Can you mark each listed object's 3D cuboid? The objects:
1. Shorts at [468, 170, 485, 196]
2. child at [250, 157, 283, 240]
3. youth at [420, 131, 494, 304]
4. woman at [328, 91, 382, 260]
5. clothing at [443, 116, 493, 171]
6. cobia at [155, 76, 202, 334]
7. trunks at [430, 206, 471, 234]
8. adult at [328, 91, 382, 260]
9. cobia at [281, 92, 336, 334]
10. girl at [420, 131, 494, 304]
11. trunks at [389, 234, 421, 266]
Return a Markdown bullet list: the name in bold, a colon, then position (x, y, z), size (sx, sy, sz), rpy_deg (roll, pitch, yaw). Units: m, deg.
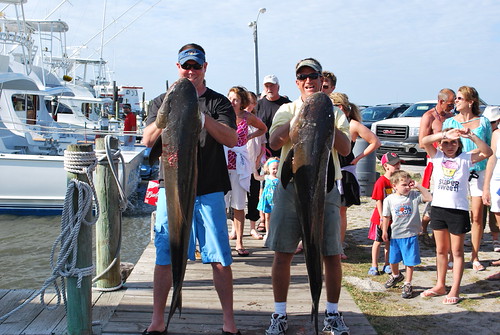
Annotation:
- **Shorts**: position (3.680, 0.268, 10.394), size (0.254, 0.403, 0.322), rpy_deg (4, 7, 16)
- **child**: position (0.338, 0.532, 10.969), size (0.735, 1.334, 0.389), rpy_deg (5, -6, -29)
- **youth**: position (3.028, 0.706, 9.613), size (0.912, 2.587, 0.656), rpy_deg (1, 4, -2)
- **woman**: position (1.569, 0.181, 10.308), size (0.807, 2.385, 1.184), rpy_deg (11, -6, -7)
- **clothing**: position (3.382, -0.346, 9.907), size (0.847, 0.905, 0.514), rpy_deg (-5, -2, 3)
- **cobia**: position (-0.889, 0.141, 8.095), size (0.657, 2.956, 0.588), rpy_deg (5, -11, -3)
- **trunks**: position (2.974, 0.758, 9.623), size (0.550, 0.378, 0.373), rpy_deg (3, 10, 30)
- **adult**: position (1.551, 0.167, 10.302), size (0.766, 2.383, 1.169), rpy_deg (2, -4, -7)
- **cobia**: position (0.638, 0.544, 8.359), size (0.743, 2.897, 0.713), rpy_deg (4, 14, 9)
- **girl**: position (3.030, 0.706, 9.613), size (0.917, 2.587, 0.655), rpy_deg (1, 4, -3)
- **trunks**: position (2.374, 1.271, 9.832), size (0.521, 0.485, 0.311), rpy_deg (4, 6, 42)
